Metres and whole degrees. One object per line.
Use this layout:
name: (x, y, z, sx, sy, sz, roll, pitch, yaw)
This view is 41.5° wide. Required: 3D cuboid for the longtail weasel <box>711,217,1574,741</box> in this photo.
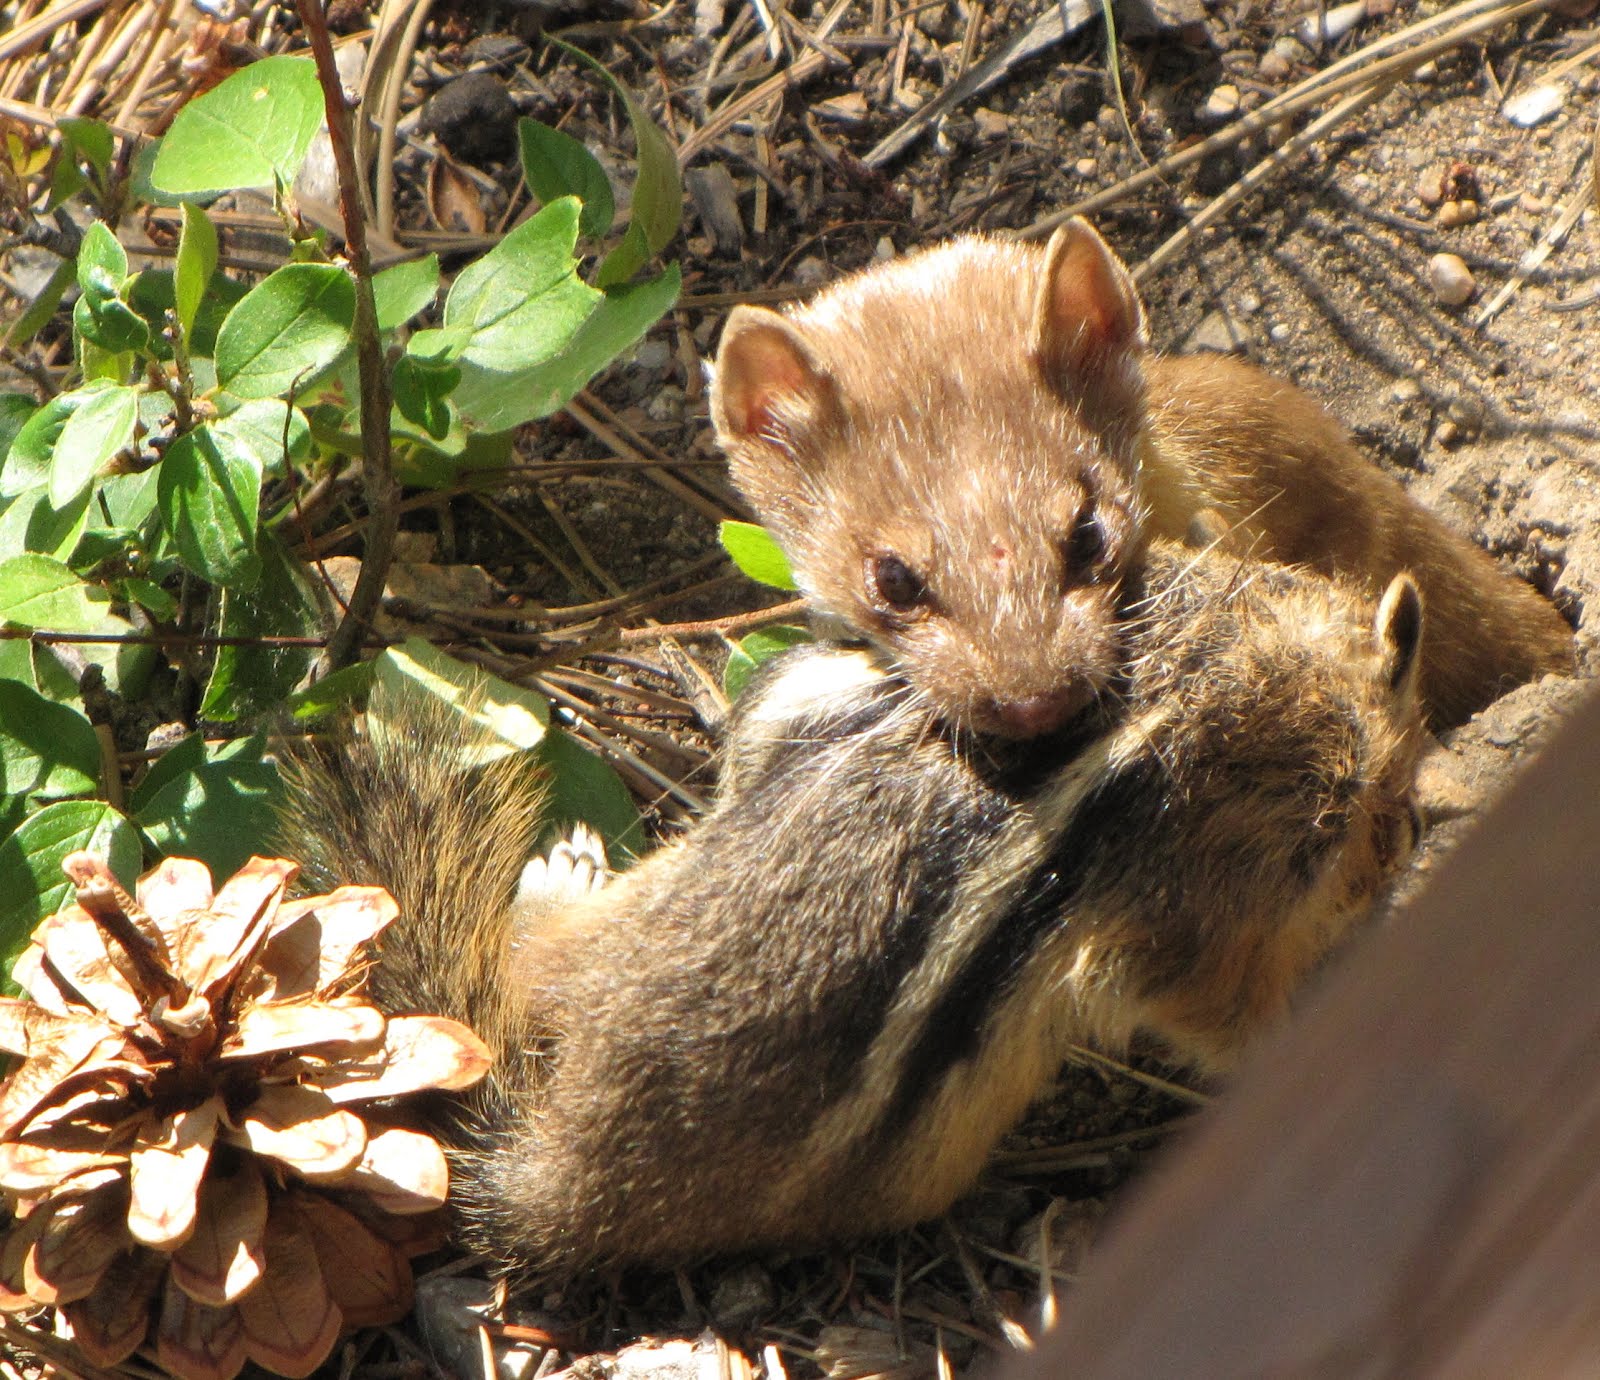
longtail weasel: (0.685, -0.553, 4.658, 1.765, 1.400, 1.359, -24, 30, -34)
